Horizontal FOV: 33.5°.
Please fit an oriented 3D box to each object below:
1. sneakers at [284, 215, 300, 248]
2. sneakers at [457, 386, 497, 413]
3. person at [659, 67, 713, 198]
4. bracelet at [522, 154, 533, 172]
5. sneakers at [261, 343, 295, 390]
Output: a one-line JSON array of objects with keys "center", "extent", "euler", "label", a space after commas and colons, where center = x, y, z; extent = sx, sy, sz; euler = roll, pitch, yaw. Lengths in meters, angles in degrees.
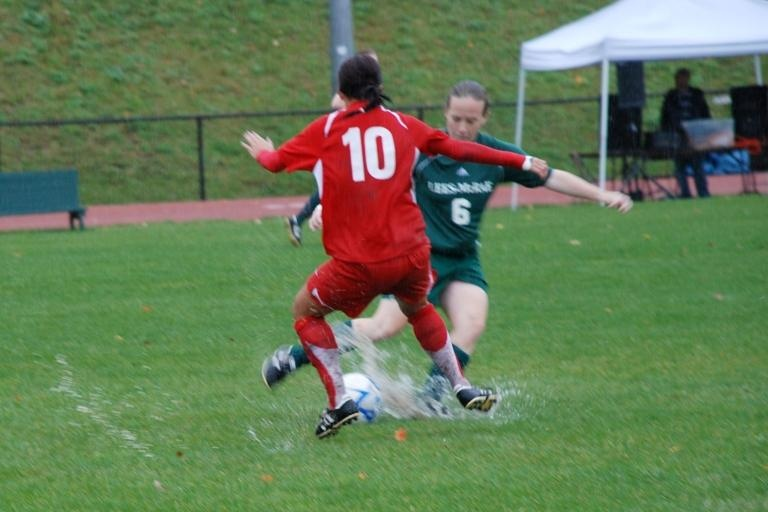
[{"center": [-1.307, -0.379, 18.366], "extent": [0.179, 0.439, 0.143], "euler": [-15, 13, 3], "label": "sneakers"}, {"center": [1.000, 1.530, 13.909], "extent": [0.414, 0.226, 0.211], "euler": [9, 17, -11], "label": "sneakers"}, {"center": [4.687, -1.925, 19.821], "extent": [0.745, 1.969, 1.243], "euler": [-2, 7, 13], "label": "person"}, {"center": [1.546, -1.013, 13.799], "extent": [0.122, 0.145, 0.140], "euler": [18, -12, 21], "label": "bracelet"}, {"center": [-1.157, 1.206, 14.059], "extent": [0.505, 0.280, 0.227], "euler": [-46, 21, 7], "label": "sneakers"}]
